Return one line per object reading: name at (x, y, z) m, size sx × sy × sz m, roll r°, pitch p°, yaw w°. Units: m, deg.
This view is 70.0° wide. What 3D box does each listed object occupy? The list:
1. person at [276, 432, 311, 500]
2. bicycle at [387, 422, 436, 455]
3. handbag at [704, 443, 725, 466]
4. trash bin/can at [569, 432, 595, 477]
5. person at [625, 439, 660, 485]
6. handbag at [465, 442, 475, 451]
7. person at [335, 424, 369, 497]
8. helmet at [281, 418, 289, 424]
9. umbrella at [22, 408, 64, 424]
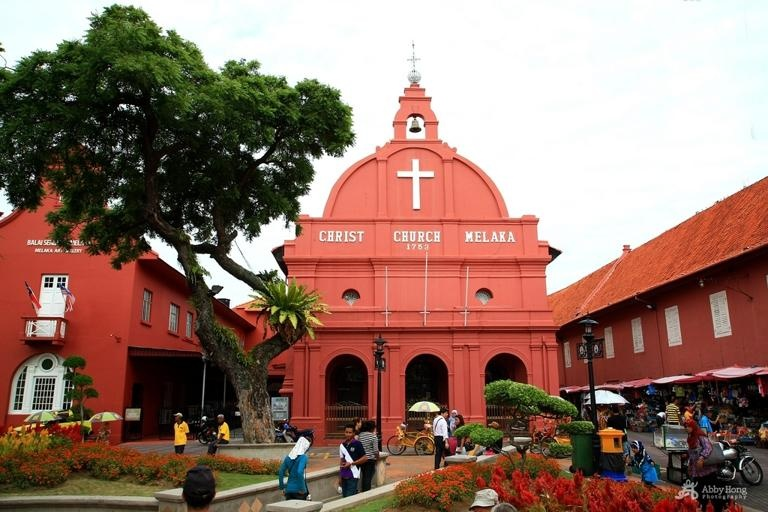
person at (-1.859, 4.483, 11.613) m, size 0.564 × 1.267 × 0.936 m, roll 6°, pitch -21°, yaw -21°
bicycle at (1.002, 8.009, 23.586) m, size 2.514 × 1.469 × 1.186 m, roll -4°, pitch -34°, yaw 14°
handbag at (7.534, 4.517, 12.551) m, size 0.507 × 0.344 × 0.485 m, roll -1°, pitch -7°, yaw 10°
trash bin/can at (5.625, 5.560, 15.364) m, size 0.635 × 1.142 × 0.546 m, roll -8°, pitch -20°, yaw 17°
person at (6.879, 5.465, 14.511) m, size 0.512 × 1.042 × 1.552 m, roll -10°, pitch -22°, yaw 22°
handbag at (2.927, 6.625, 18.933) m, size 0.353 × 0.355 × 0.653 m, roll -1°, pitch -9°, yaw 13°
person at (-0.720, 4.874, 12.992) m, size 0.605 × 1.543 × 0.712 m, roll -1°, pitch -19°, yaw -1°
helmet at (-4.658, 7.858, 25.971) m, size 0.326 × 0.309 × 0.215 m, roll 2°, pitch -35°, yaw -3°
umbrella at (-14.615, 6.925, 23.610) m, size 1.769 × 0.624 × 1.797 m, roll -4°, pitch -15°, yaw 15°
